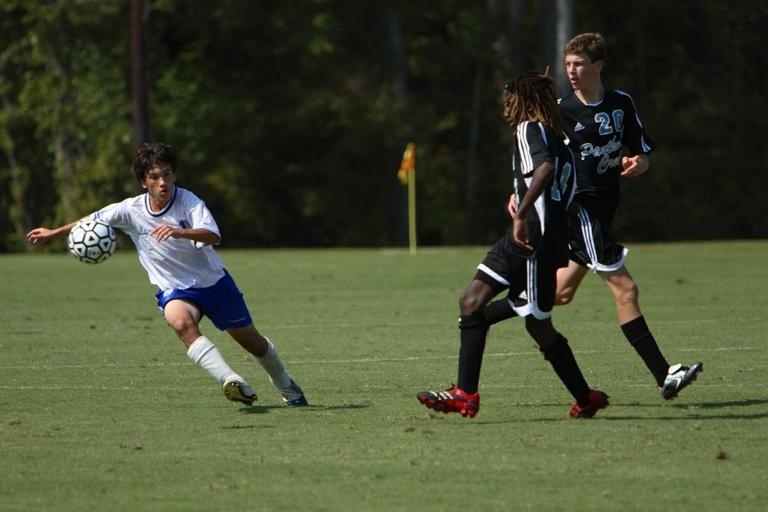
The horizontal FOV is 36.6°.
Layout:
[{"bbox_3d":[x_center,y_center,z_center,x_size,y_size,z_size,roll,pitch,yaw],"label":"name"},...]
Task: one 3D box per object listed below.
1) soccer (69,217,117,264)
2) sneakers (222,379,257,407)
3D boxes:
[{"bbox_3d":[-2.907,-0.116,11.767,0.483,0.454,0.446,-12,-11,-17],"label":"soccer"},{"bbox_3d":[-1.349,1.309,10.977,0.316,0.191,0.147,28,18,-20],"label":"sneakers"}]
